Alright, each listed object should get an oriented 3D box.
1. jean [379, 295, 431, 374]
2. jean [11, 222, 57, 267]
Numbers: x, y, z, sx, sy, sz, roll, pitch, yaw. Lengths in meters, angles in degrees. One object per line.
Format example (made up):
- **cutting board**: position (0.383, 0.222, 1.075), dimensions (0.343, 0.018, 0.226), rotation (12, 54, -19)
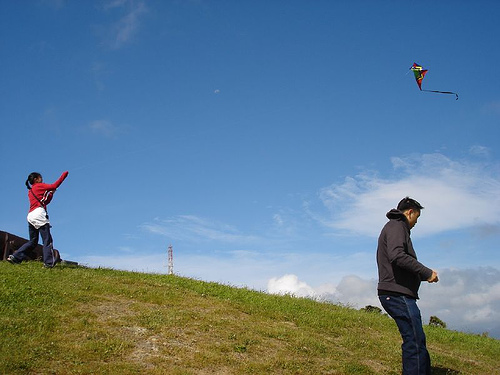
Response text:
- **jean**: position (3.877, 3.622, 10.544), dimensions (1.177, 1.999, 0.361), rotation (11, 1, 28)
- **jean**: position (-8.731, 2.115, 17.421), dimensions (1.887, 0.699, 2.321), rotation (5, -55, -34)
